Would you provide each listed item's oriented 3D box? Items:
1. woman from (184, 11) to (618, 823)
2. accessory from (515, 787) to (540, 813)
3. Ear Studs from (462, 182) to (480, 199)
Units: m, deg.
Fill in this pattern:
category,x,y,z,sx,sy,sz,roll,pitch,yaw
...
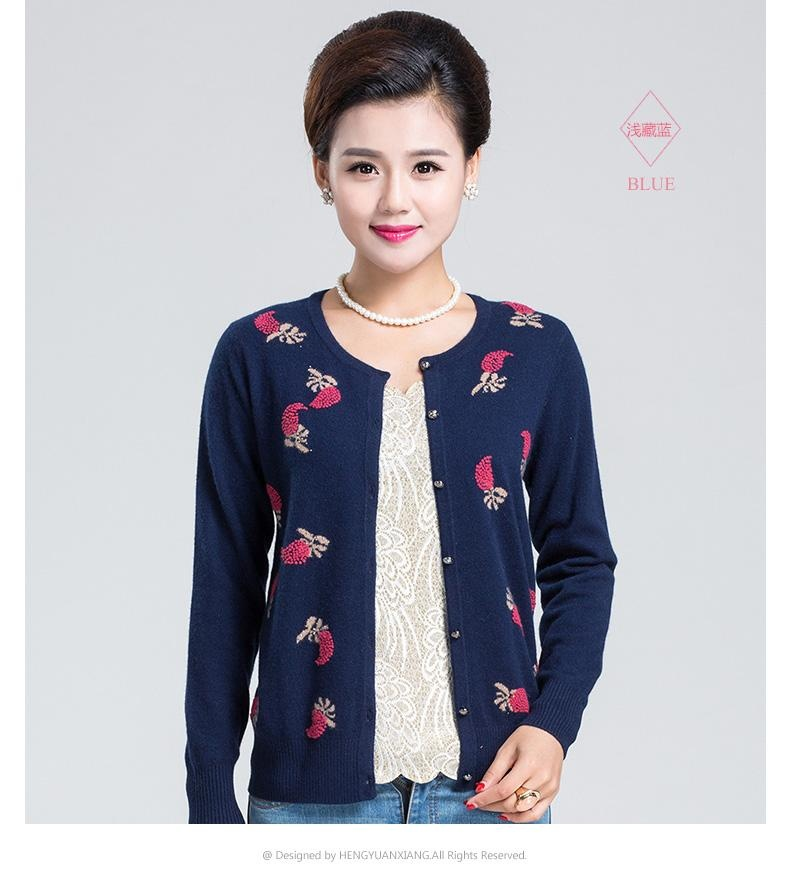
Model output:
category,x,y,z,sx,sy,sz,roll,pitch,yaw
woman,0.017,-0.018,1.903,0.623,1.343,0.640,11,-19,-32
accessory,0.206,0.551,1.660,0.035,0.039,0.018,6,23,-20
Ear Studs,0.139,-0.460,1.896,0.011,0.031,0.035,6,-11,-40
